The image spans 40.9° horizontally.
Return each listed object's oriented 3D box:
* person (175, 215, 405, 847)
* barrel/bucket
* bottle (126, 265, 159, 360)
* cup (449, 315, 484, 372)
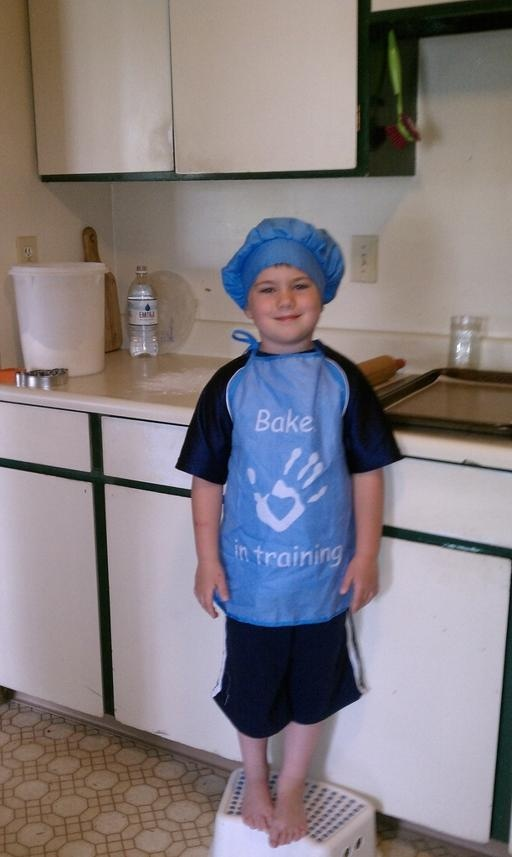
[{"bbox_3d":[0.041,0.169,1.050,0.311,0.945,0.200,-2,9,-13],"label":"person"},{"bbox_3d":[-0.438,-0.258,1.565,0.196,0.250,0.215,3,16,-1],"label":"barrel/bucket"},{"bbox_3d":[-0.300,-0.304,1.818,0.080,0.233,0.202,-2,10,-10],"label":"bottle"},{"bbox_3d":[0.443,-0.180,1.450,0.070,0.108,0.034,3,10,16],"label":"cup"}]
